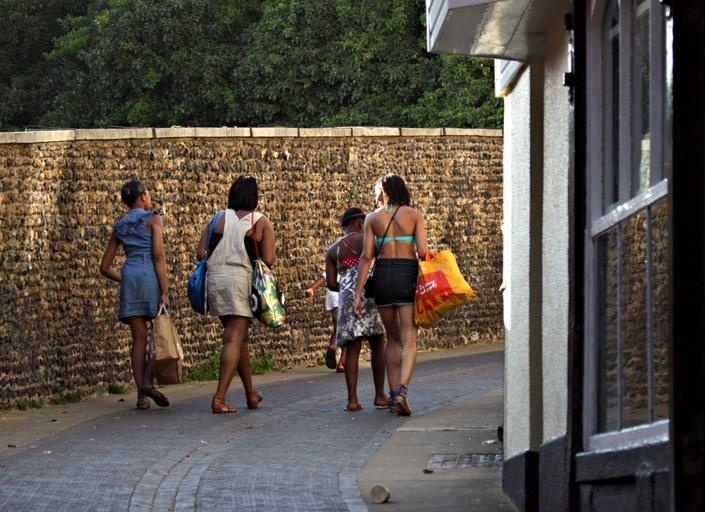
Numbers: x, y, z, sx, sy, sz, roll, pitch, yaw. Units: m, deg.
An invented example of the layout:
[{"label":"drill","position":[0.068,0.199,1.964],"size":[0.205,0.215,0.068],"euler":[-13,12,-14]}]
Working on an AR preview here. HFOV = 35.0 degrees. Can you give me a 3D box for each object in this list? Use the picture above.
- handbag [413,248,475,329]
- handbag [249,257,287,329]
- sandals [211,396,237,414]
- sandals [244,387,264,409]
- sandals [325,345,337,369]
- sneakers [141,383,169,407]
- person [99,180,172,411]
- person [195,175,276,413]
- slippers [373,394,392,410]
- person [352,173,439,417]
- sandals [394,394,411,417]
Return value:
[{"label":"handbag","position":[0.810,0.219,10.331],"size":[0.585,0.768,0.299],"euler":[-29,-33,26]},{"label":"handbag","position":[-0.911,0.422,11.150],"size":[0.288,0.791,0.551],"euler":[1,-15,-26]},{"label":"sandals","position":[-1.255,1.444,10.886],"size":[0.206,0.140,0.129],"euler":[-2,2,-12]},{"label":"sandals","position":[-0.982,1.419,11.231],"size":[0.087,0.128,0.270],"euler":[-1,5,3]},{"label":"sandals","position":[-0.267,1.296,14.169],"size":[0.102,0.313,0.127],"euler":[0,13,5]},{"label":"sneakers","position":[-1.964,1.391,11.165],"size":[0.260,0.277,0.305],"euler":[-5,3,-11]},{"label":"person","position":[-2.146,0.372,11.274],"size":[0.498,1.572,0.700],"euler":[-6,4,-34]},{"label":"person","position":[-1.129,0.372,11.116],"size":[0.794,2.307,0.567],"euler":[-5,3,-24]},{"label":"slippers","position":[0.309,1.444,11.026],"size":[0.204,0.166,0.078],"euler":[1,-9,-20]},{"label":"person","position":[0.421,0.343,10.512],"size":[0.551,2.182,0.783],"euler":[-6,3,-31]},{"label":"sandals","position":[0.474,1.353,10.267],"size":[0.117,0.228,0.090],"euler":[3,42,17]}]
